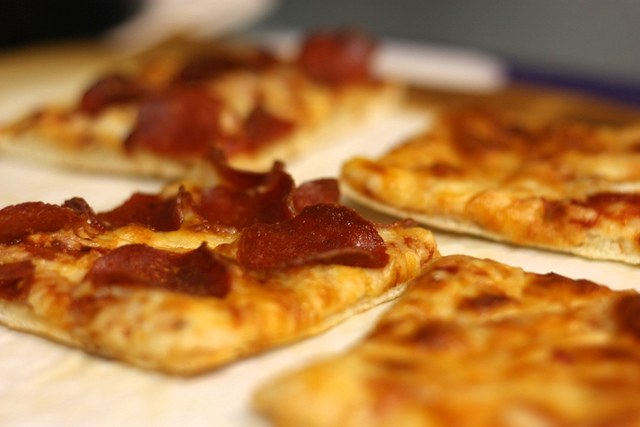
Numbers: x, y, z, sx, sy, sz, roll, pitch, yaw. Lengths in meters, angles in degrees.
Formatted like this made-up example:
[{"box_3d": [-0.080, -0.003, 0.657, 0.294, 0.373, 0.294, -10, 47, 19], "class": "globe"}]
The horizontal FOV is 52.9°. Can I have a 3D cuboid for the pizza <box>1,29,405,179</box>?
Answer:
[{"box_3d": [-0.257, -0.269, 1.547, 0.590, 0.159, 0.517, -21, 30, -37], "class": "pizza"}]

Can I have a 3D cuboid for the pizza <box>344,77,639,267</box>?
[{"box_3d": [0.375, -0.099, 1.367, 0.482, 0.110, 0.478, 13, 29, 36], "class": "pizza"}]
